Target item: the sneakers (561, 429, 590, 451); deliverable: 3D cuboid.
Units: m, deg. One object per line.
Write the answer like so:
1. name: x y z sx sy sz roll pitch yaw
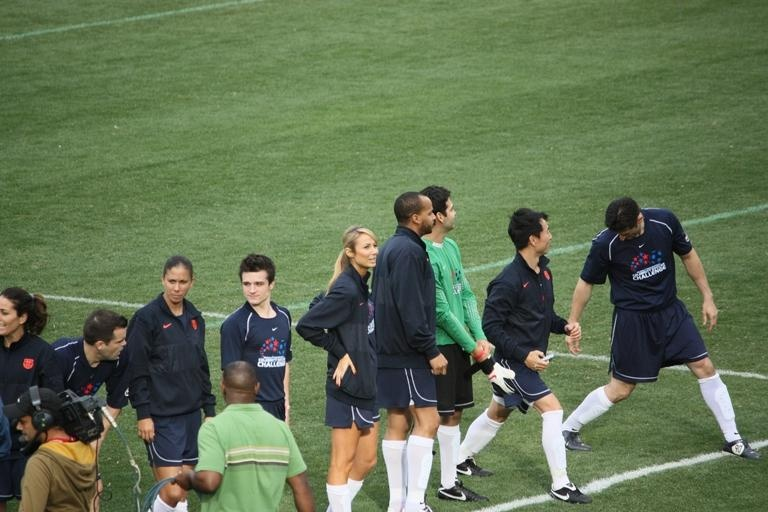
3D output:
1. sneakers: 3.309 3.185 22.523 0.641 0.272 0.242 7 2 33

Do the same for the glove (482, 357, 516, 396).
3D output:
1. glove: 1.912 2.006 21.731 0.491 0.621 0.218 -51 5 -19
